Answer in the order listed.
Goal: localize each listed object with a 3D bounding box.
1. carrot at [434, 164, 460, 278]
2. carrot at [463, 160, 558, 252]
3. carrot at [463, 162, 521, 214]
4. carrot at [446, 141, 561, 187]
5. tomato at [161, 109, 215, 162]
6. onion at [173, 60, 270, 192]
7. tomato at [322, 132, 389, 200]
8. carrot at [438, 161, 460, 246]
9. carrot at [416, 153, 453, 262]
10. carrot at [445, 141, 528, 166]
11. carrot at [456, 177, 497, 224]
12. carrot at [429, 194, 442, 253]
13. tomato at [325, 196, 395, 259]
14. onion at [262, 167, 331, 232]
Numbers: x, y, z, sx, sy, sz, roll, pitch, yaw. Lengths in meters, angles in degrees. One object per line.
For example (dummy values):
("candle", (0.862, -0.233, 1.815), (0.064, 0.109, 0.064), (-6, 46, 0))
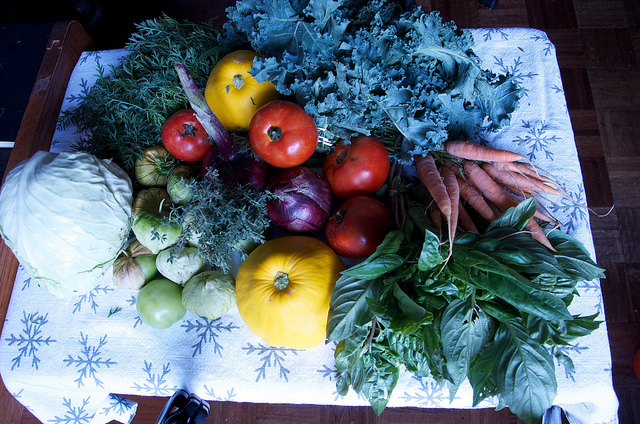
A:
("carrot", (0.371, -0.019, 1.403), (0.049, 0.047, 0.271), (7, 71, -11))
("carrot", (0.556, -0.015, 1.427), (0.047, 0.050, 0.341), (-47, 72, 15))
("carrot", (0.520, -0.079, 1.509), (0.053, 0.184, 0.051), (-5, 81, -26))
("carrot", (0.540, -0.176, 1.451), (0.318, 0.060, 0.065), (10, 92, 26))
("tomato", (-0.422, -0.236, 1.580), (0.162, 0.160, 0.157), (5, 73, -10))
("onion", (-0.312, -0.199, 1.394), (0.336, 0.315, 0.176), (39, 79, 7))
("tomato", (0.112, -0.135, 1.484), (0.204, 0.144, 0.200), (-4, 76, 21))
("carrot", (0.377, -0.037, 1.423), (0.053, 0.054, 0.267), (20, 61, -26))
("carrot", (0.327, -0.020, 1.405), (0.063, 0.063, 0.314), (-4, 62, -5))
("carrot", (0.513, -0.182, 1.495), (0.191, 0.046, 0.052), (8, 57, 17))
("carrot", (0.481, -0.035, 1.468), (0.038, 0.033, 0.147), (-25, 72, -31))
("carrot", (0.333, 0.037, 1.411), (0.025, 0.025, 0.143), (-5, 74, 2))
("tomato", (0.125, 0.051, 1.535), (0.186, 0.193, 0.189), (-9, 79, 37))
("onion", (-0.067, -0.041, 1.472), (0.206, 0.105, 0.192), (-10, 77, -5))
